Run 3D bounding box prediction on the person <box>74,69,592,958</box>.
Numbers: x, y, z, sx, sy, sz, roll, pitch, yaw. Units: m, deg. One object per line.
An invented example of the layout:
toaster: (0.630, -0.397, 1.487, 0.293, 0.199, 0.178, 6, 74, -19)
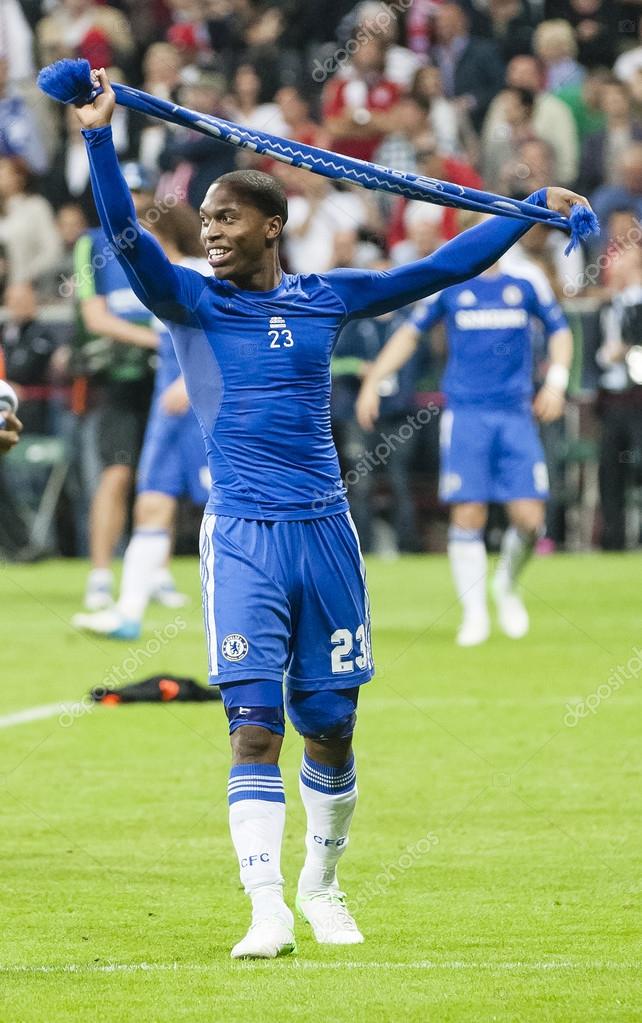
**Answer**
person: (-0.078, 0.002, 3.447, 0.603, 1.864, 0.867, 2, 4, 27)
